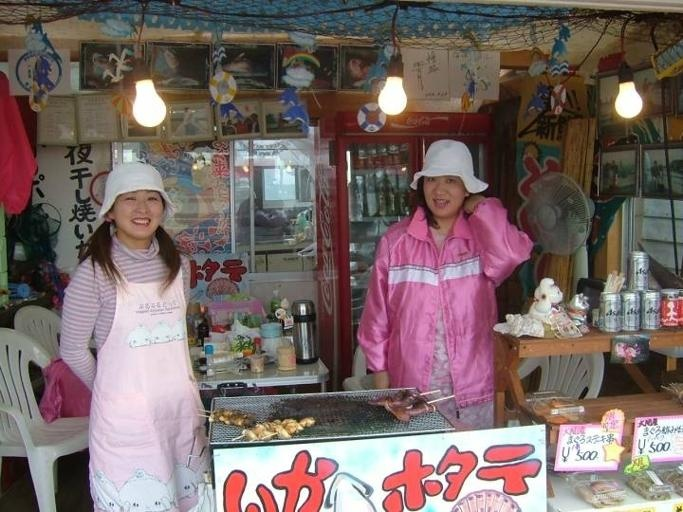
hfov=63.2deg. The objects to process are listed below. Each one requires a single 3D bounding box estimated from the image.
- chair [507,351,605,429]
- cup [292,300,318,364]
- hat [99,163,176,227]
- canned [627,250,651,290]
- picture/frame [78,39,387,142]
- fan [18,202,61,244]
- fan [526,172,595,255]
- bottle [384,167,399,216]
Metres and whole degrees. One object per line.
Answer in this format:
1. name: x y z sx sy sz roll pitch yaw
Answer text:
1. chair: 1.133 0.692 2.894 0.417 0.608 0.444 -5 -20 39
2. cup: -0.269 0.553 4.068 0.172 0.431 0.211 -3 4 -6
3. hat: -1.048 -0.333 2.744 0.391 0.239 0.316 -9 -2 -19
4. canned: 1.409 0.063 2.640 0.088 0.176 0.212 -1 4 27
5. picture/frame: -0.912 -1.495 5.029 2.639 0.868 1.250 -3 4 6
6. fan: -3.079 -0.366 5.664 0.189 0.382 0.362 -1 4 25
7. fan: 1.419 -0.281 3.623 0.127 0.513 0.496 -6 33 -35
8. bottle: 0.544 -0.672 5.911 0.162 0.466 0.168 -1 7 0
